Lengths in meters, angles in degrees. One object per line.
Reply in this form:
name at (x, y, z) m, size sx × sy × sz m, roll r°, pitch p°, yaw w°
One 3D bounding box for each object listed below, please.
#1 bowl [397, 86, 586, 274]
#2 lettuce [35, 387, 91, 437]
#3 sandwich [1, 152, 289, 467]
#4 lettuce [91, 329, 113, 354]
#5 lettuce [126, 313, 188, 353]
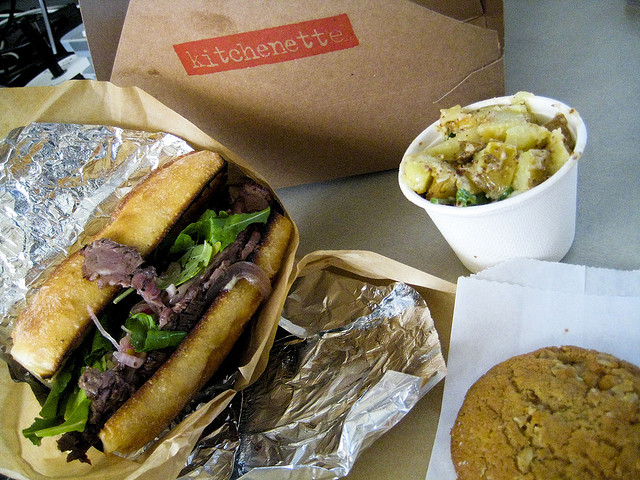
bowl at (0.403, -0.126, 1.310) m, size 0.392 × 0.293 × 0.370 m, roll -7°, pitch 59°, yaw 11°
lettuce at (-0.549, 0.384, 1.212) m, size 0.070 × 0.034 × 0.132 m, roll -4°, pitch 49°, yaw 12°
sandwich at (-0.365, 0.140, 1.511) m, size 0.461 × 0.226 × 0.839 m, roll 40°, pitch 80°, yaw 3°
lettuce at (-0.504, 0.239, 1.302) m, size 0.042 × 0.017 × 0.054 m, roll 20°, pitch 48°, yaw -14°
lettuce at (-0.370, 0.204, 1.278) m, size 0.108 × 0.081 × 0.089 m, roll -26°, pitch 57°, yaw -1°
